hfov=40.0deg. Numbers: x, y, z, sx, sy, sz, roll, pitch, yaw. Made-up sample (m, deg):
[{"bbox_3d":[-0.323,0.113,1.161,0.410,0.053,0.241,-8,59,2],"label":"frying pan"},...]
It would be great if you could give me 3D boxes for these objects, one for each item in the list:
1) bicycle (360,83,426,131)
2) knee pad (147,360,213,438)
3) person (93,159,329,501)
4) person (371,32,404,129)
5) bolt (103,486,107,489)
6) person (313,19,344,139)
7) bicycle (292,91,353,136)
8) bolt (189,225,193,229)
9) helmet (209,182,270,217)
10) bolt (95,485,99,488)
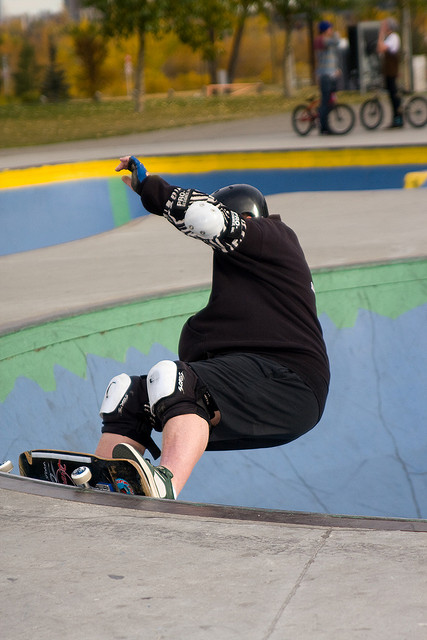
[{"bbox_3d":[2.562,-3.115,8.549,1.219,0.698,0.567,1,18,4],"label":"bicycle"},{"bbox_3d":[-0.084,0.178,1.324,0.069,0.154,0.129,-6,-2,-40],"label":"knee pad"},{"bbox_3d":[0.044,-0.019,1.381,0.475,0.744,0.643,-3,5,3],"label":"person"},{"bbox_3d":[2.487,-3.322,8.159,0.266,1.222,0.544,-1,6,18],"label":"person"},{"bbox_3d":[-0.213,0.331,1.153,0.007,0.002,0.005,5,4,21],"label":"bolt"},{"bbox_3d":[1.558,-3.294,8.031,0.340,1.534,0.668,-2,6,11],"label":"person"},{"bbox_3d":[1.579,-2.930,8.387,0.992,0.585,0.475,4,15,25],"label":"bicycle"},{"bbox_3d":[-0.059,-0.241,1.521,0.009,0.007,0.008,26,40,12],"label":"bolt"},{"bbox_3d":[0.089,-0.367,1.784,0.161,0.105,0.130,-12,17,-26],"label":"helmet"},{"bbox_3d":[-0.233,0.331,1.161,0.005,0.001,0.005,10,18,29],"label":"bolt"}]
